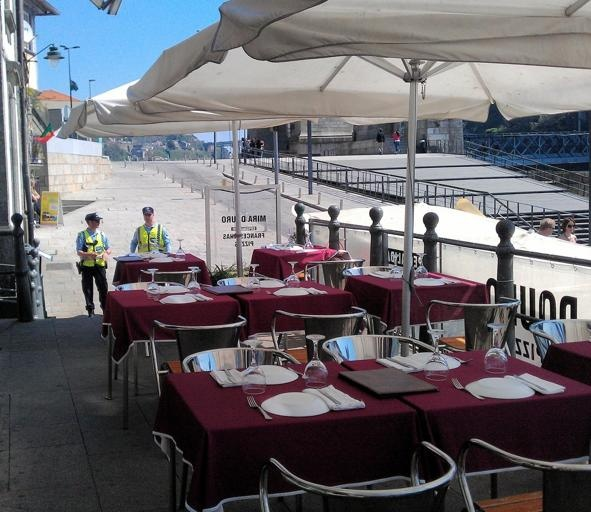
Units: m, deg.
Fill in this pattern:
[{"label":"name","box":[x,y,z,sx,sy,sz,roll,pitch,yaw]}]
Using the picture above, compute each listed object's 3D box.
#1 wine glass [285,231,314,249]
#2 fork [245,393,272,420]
[{"label":"wine glass","box":[0.143,-0.292,11.716,0.694,0.405,0.215,-2,10,-8]},{"label":"fork","box":[-0.180,0.745,3.163,0.046,0.049,0.339,0,9,-14]}]
